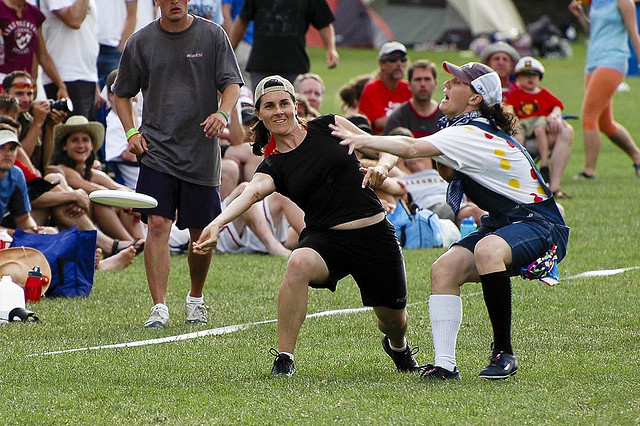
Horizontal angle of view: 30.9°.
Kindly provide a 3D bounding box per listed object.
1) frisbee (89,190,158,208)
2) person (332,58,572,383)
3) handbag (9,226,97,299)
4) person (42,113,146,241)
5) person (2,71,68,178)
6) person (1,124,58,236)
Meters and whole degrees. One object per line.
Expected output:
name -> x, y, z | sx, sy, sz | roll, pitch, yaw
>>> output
frisbee -> -1.767, -0.131, 10.491 | 0.610, 0.178, 0.325 | 1, 8, 12
person -> 1.204, 0.046, 9.393 | 1.564, 2.502, 0.851 | 1, 8, 12
handbag -> -2.610, 0.498, 11.837 | 0.643, 0.569, 0.993 | -2, 6, -30
person -> -2.457, -0.417, 12.554 | 0.682, 1.243, 1.521 | -5, 8, -30
person -> -3.084, -0.996, 12.459 | 0.931, 0.358, 0.892 | 2, -35, -6
person -> -3.093, -0.339, 11.737 | 0.509, 1.155, 0.681 | 1, 8, 8
